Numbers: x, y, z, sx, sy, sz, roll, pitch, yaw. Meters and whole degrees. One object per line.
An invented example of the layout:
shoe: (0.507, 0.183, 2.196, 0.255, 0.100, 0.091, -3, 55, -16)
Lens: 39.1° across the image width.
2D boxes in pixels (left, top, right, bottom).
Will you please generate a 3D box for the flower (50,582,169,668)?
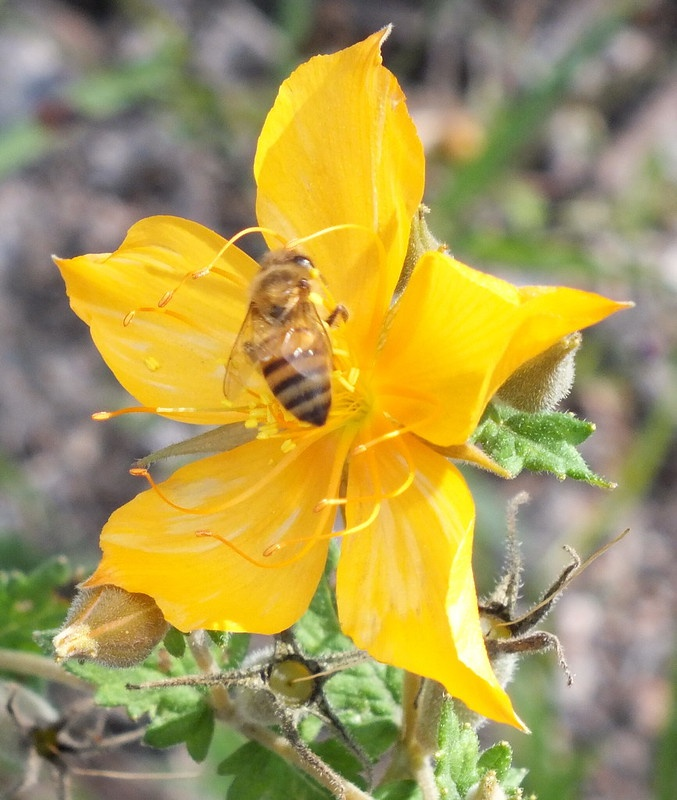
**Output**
flower: (-0.537, 0.533, 2.211, 0.216, 0.260, 0.075, 26, 110, 29)

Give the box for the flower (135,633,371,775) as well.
flower: (-0.220, 0.769, 2.264, 0.527, 0.470, 0.166, 23, 57, -11)
